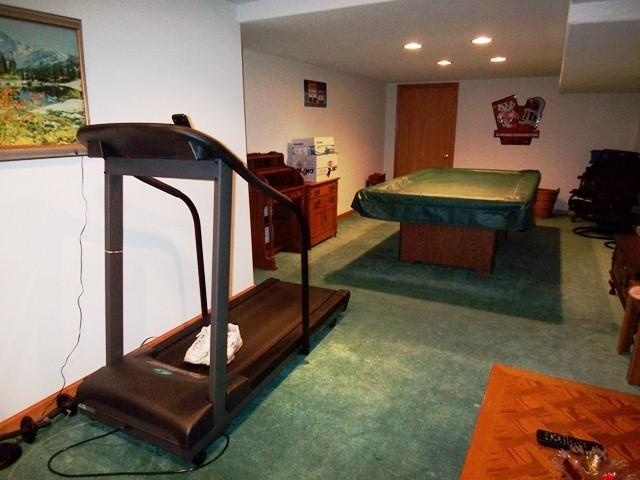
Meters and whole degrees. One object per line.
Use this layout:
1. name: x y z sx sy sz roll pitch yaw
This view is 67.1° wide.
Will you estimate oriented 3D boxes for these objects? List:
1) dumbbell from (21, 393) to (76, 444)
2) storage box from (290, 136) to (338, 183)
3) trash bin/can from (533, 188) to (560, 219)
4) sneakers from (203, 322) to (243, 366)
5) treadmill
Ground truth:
1. dumbbell: -1.657 1.076 2.946 0.318 0.204 0.177 -14 21 -37
2. storage box: -0.014 -1.036 6.086 0.396 0.571 0.697 14 18 38
3. trash bin/can: 3.501 -0.621 7.586 0.436 0.449 0.443 6 15 17
4. sneakers: -0.610 0.672 3.247 0.221 0.227 0.263 13 12 16
5. treadmill: -0.603 0.103 3.476 1.038 1.844 2.155 7 17 24
